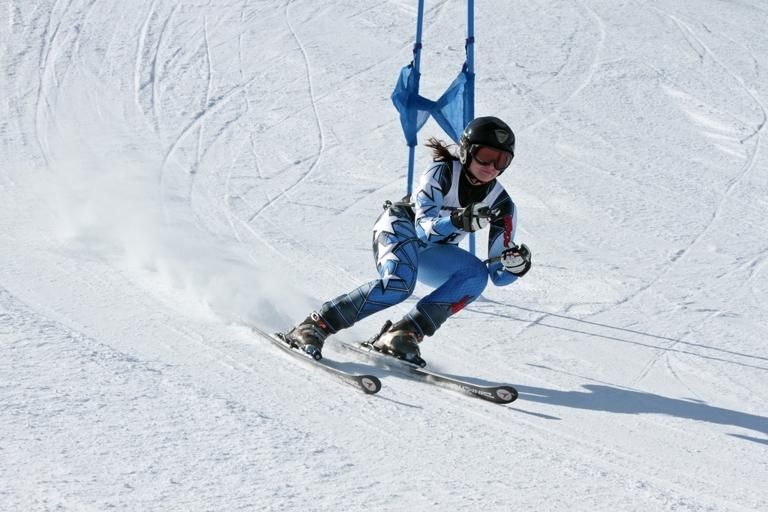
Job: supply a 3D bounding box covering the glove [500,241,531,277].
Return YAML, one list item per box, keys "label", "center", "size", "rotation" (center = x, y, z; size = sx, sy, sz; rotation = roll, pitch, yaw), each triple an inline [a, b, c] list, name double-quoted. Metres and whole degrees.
- label: "glove"
  center: [1.206, 0.038, 9.057]
  size: [0.262, 0.506, 0.219]
  rotation: [9, 77, 5]

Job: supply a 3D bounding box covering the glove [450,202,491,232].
- label: "glove"
  center: [0.760, -0.341, 8.622]
  size: [0.275, 0.365, 0.123]
  rotation: [10, 77, -41]

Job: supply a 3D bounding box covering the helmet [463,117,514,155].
- label: "helmet"
  center: [0.947, -1.092, 8.952]
  size: [0.487, 0.185, 0.317]
  rotation: [6, 72, 3]
